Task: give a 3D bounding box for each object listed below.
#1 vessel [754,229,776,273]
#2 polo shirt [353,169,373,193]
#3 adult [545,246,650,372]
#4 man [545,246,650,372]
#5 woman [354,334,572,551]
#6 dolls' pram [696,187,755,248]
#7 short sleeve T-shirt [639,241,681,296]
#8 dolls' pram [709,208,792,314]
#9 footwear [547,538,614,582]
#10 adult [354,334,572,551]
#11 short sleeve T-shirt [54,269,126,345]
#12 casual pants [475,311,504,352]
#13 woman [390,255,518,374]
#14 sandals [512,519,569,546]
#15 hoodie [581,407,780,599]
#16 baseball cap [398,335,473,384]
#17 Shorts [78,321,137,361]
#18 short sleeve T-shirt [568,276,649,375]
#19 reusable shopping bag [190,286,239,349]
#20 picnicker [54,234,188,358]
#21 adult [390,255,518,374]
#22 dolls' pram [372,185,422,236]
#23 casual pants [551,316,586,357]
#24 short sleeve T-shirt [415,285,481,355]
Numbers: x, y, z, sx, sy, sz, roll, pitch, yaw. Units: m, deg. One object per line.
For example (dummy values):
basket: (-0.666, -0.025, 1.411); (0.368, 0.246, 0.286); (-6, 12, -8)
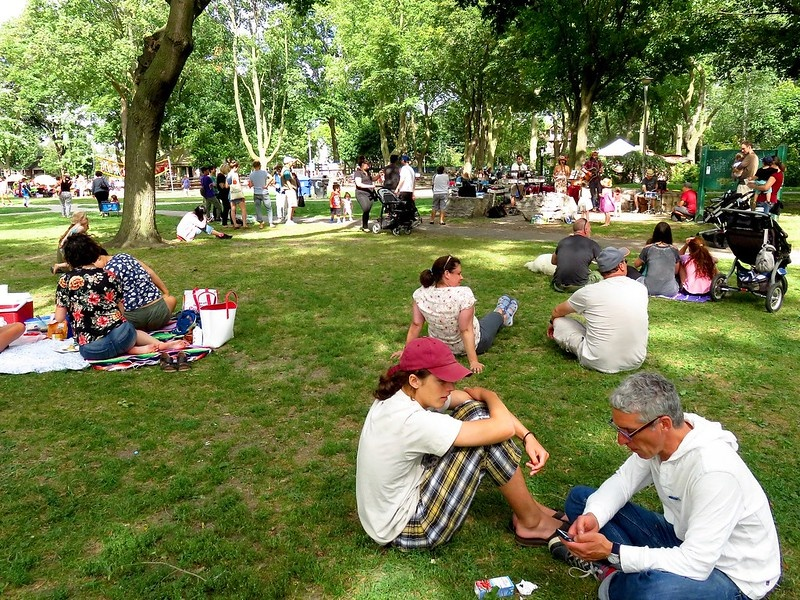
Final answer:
vessel: (5.913, -0.788, 9.041); (0.238, 0.661, 0.294); (1, 2, -38)
polo shirt: (-1.021, -3.498, 16.432); (0.442, 0.804, 0.798); (-4, 8, 19)
adult: (2.617, -0.010, 7.096); (1.125, 1.532, 1.416); (-8, 18, -22)
man: (2.576, -0.003, 7.097); (1.231, 1.507, 1.359); (-15, 23, -37)
woman: (0.511, 1.101, 4.333); (1.766, 1.716, 0.913); (-6, 7, -8)
dolls' pram: (6.868, -1.741, 11.898); (0.882, 0.910, 0.649); (-3, 6, 25)
short sleeve T-shirt: (4.424, -0.585, 9.622); (0.691, 0.986, 0.888); (1, 19, 16)
dolls' pram: (5.800, -0.685, 9.211); (0.991, 1.581, 0.884); (10, 12, 37)
footwear: (1.261, 1.838, 3.963); (0.433, 0.158, 0.172); (25, 10, 35)
adult: (0.522, 1.100, 4.309); (1.732, 1.702, 0.907); (-6, 7, -8)
short sleeve T-shirt: (-3.754, 0.027, 6.873); (0.755, 0.935, 0.489); (-10, 19, -38)
casual pants: (1.285, 0.382, 7.569); (0.366, 0.302, 1.021); (-32, -17, -6)
woman: (0.983, -0.027, 7.248); (1.303, 1.291, 2.126); (9, 19, 38)
sandals: (1.060, 1.778, 4.204); (0.411, 0.123, 0.172); (-4, 5, 31)
hoodie: (1.827, 1.242, 3.721); (1.052, 0.925, 1.088); (4, 7, -4)
baseball cap: (0.263, 0.399, 3.985); (0.548, 0.296, 0.364); (1, -1, 27)
Shorts: (-3.723, 0.573, 7.289); (0.707, 0.392, 0.872); (-28, 10, -23)
short sleeve T-shirt: (2.555, 0.247, 6.865); (0.924, 1.208, 0.830); (-1, 17, 11)
reusable shopping bag: (-2.563, 0.269, 7.717); (0.551, 0.939, 0.748); (5, 5, 29)
picnicker: (-3.728, -0.093, 7.298); (1.127, 1.685, 1.461); (13, 20, 42)
adult: (1.005, -0.036, 7.273); (1.204, 1.314, 2.207); (9, 18, 38)
dolls' pram: (-0.147, -2.713, 16.668); (1.276, 1.298, 0.916); (11, 17, 37)
casual pants: (2.149, 0.510, 7.054); (0.364, 0.149, 0.423); (-9, 16, 28)
short sleeve T-shirt: (0.556, 0.237, 6.805); (0.791, 0.840, 0.477); (7, 20, 27)
